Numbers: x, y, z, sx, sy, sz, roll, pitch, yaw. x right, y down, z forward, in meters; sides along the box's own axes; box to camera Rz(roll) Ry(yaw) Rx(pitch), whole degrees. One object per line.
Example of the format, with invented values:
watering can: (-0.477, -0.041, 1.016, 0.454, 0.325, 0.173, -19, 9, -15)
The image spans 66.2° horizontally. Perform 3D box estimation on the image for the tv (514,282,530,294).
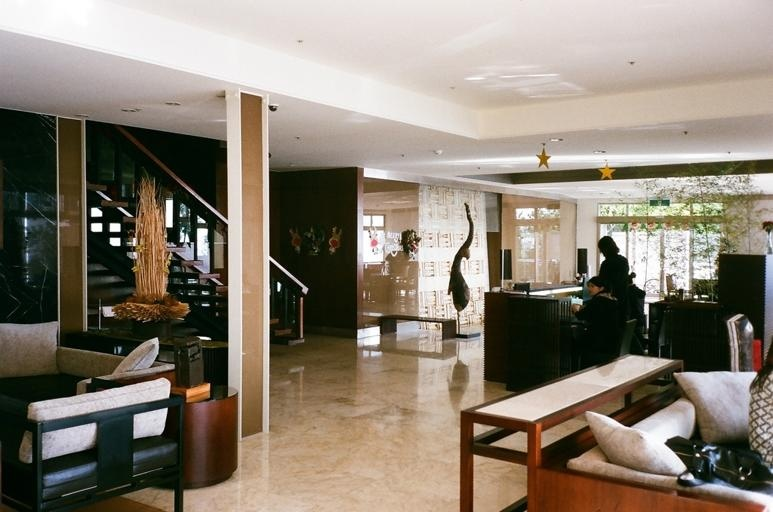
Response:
tv: (2.598, 0.620, 11.343, 0.258, 0.207, 0.136, -1, 4, -43)

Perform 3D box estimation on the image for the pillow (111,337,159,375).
pillow: (-2.760, 1.093, 6.520, 0.240, 0.395, 0.461, 17, 2, -5)

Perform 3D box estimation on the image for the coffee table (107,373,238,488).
coffee table: (-2.215, 1.713, 6.137, 1.215, 0.797, 1.152, -1, 4, -36)

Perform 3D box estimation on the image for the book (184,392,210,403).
book: (-1.871, 1.377, 5.790, 0.139, 0.032, 0.148, 1, 1, 35)

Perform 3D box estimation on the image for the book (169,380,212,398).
book: (-1.928, 1.301, 5.802, 0.264, 0.065, 0.297, 2, 2, 37)

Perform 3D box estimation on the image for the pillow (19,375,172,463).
pillow: (-2.381, 1.356, 4.896, 1.129, 0.528, 0.258, -6, 8, -36)

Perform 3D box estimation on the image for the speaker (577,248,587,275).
speaker: (5.341, 0.136, 16.107, 0.200, 0.555, 0.688, -1, 6, 13)
